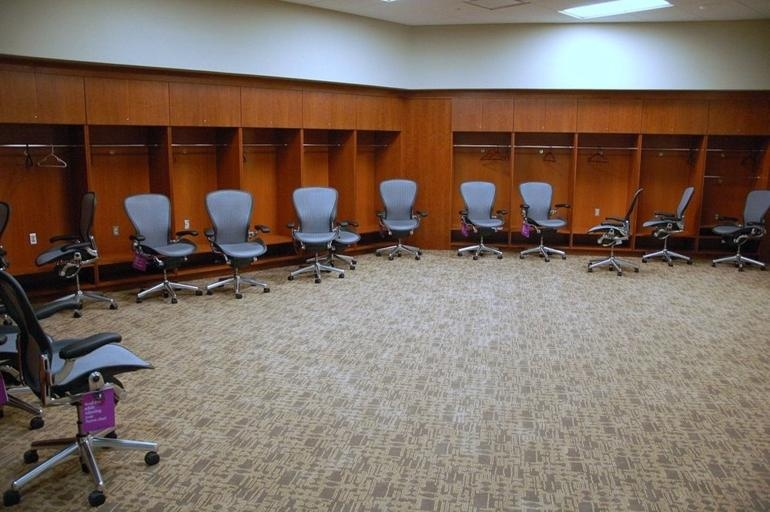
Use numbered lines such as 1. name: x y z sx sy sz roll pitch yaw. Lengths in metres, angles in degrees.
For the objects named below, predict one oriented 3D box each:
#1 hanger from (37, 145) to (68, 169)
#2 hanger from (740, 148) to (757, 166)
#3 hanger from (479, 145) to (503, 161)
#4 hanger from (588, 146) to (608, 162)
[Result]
1. hanger: -4.635 -1.375 6.627 0.058 0.258 0.426 14 13 35
2. hanger: 7.063 -1.891 9.262 0.287 0.303 0.126 6 8 23
3. hanger: 2.173 -2.097 9.804 0.509 0.252 0.098 -2 9 3
4. hanger: 4.244 -1.990 9.534 0.335 0.265 0.079 5 21 16
